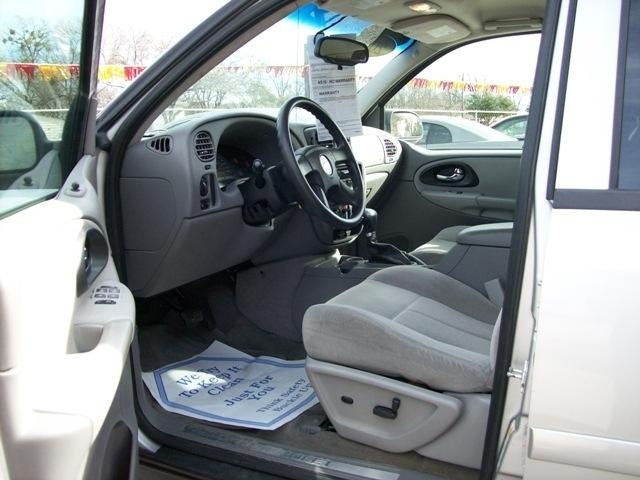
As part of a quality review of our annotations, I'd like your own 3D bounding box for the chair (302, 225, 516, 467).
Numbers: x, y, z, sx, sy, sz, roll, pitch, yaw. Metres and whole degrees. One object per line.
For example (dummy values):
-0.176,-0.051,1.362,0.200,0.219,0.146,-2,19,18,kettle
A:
0.194,0.256,1.651,0.821,0.537,0.541,7,13,27,chair
